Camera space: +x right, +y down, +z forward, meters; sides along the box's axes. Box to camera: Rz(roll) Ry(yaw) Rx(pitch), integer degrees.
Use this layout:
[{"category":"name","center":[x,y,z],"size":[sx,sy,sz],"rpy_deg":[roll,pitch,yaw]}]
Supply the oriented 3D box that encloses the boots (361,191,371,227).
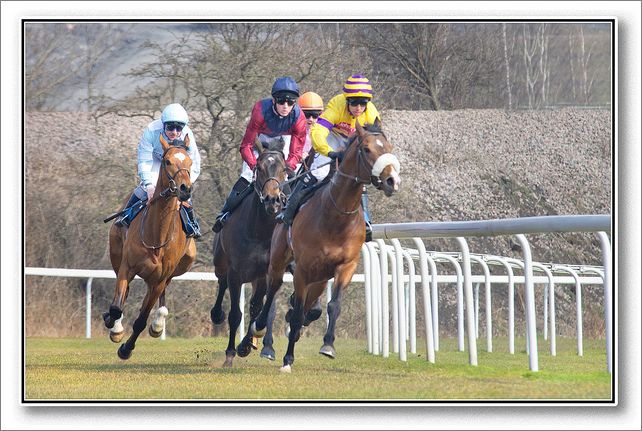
[{"category":"boots","center":[0.708,-0.110,20.584],"size":[0.146,0.496,0.142],"rpy_deg":[0,-3,-11]}]

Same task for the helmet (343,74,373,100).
[{"category":"helmet","center":[0.565,-1.972,20.363],"size":[0.332,0.326,0.395],"rpy_deg":[2,22,-6]}]

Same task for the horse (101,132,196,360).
[{"category":"horse","center":[-2.682,0.548,20.730],"size":[1.281,3.575,1.721],"rpy_deg":[3,-3,-9]}]

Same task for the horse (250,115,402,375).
[{"category":"horse","center":[0.091,0.488,19.988],"size":[0.886,3.844,2.670],"rpy_deg":[5,-3,-34]}]

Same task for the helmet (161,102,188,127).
[{"category":"helmet","center":[-2.273,-1.577,20.680],"size":[0.291,0.304,0.382],"rpy_deg":[7,21,-15]}]

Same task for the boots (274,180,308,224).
[{"category":"boots","center":[-0.409,-0.190,20.474],"size":[0.253,0.903,0.276],"rpy_deg":[29,-13,10]}]
